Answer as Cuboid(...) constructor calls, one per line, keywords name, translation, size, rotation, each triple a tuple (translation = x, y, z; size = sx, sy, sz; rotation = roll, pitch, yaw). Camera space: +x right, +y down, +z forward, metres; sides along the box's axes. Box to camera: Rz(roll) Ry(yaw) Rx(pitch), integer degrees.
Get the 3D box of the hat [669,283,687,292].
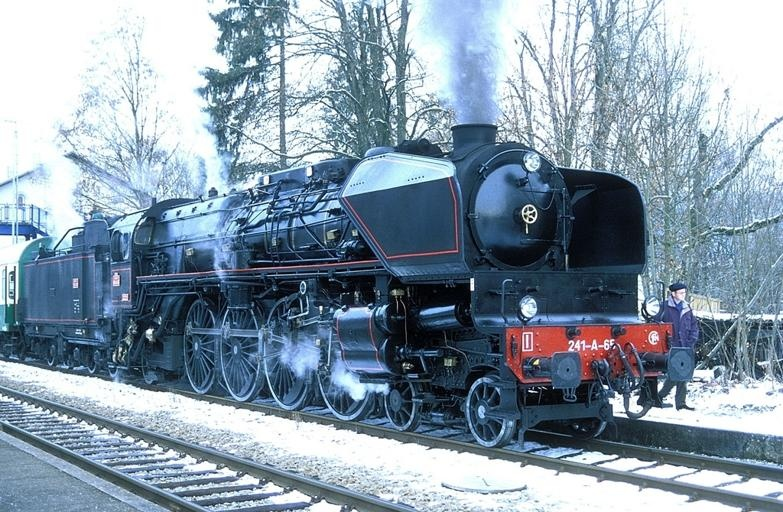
Cuboid(name="hat", translation=(4.962, 0.539, 11.879), size=(0.231, 0.122, 0.199), rotation=(-5, -3, 28))
